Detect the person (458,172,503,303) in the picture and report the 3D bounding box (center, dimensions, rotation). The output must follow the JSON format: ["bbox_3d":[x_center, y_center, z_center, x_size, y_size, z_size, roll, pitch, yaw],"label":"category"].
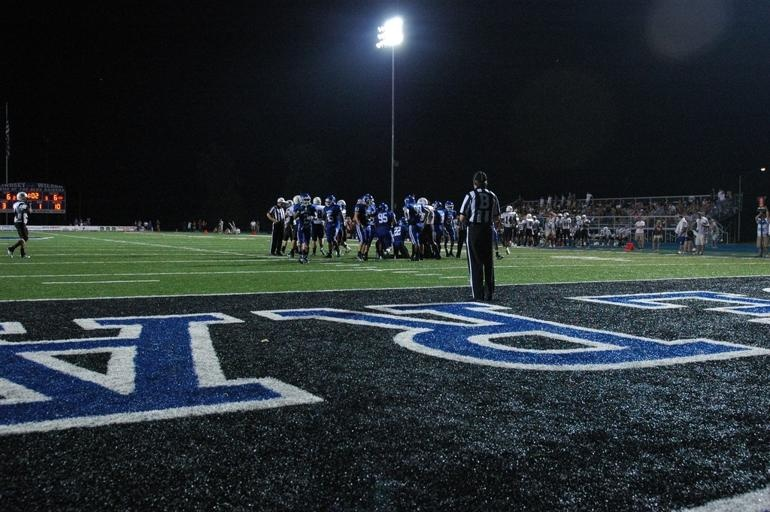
[{"bbox_3d":[1.304,-0.276,8.532,0.644,1.821,0.596,0,-3,-19],"label":"person"}]
